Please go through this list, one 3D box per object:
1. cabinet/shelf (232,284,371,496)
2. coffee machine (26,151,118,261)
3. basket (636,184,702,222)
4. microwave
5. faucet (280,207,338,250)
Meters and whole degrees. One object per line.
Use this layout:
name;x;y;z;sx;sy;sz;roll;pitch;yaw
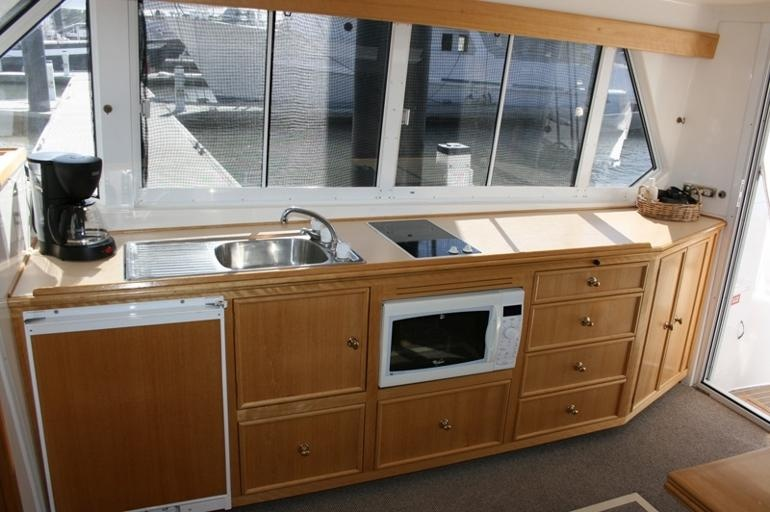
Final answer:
cabinet/shelf;-0.564;0.684;3.109;0.827;1.140;0.660;-3;6;-19
coffee machine;-1.536;-0.229;2.663;0.354;0.496;0.183;-3;24;-8
basket;2.056;-0.389;3.966;0.474;0.206;0.363;6;22;14
microwave;0.303;0.436;3.092;0.978;0.508;0.558;-5;19;-17
faucet;-0.396;-0.157;2.945;0.283;0.239;0.317;-1;22;-3
